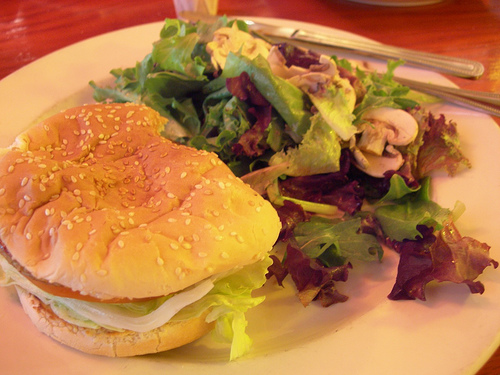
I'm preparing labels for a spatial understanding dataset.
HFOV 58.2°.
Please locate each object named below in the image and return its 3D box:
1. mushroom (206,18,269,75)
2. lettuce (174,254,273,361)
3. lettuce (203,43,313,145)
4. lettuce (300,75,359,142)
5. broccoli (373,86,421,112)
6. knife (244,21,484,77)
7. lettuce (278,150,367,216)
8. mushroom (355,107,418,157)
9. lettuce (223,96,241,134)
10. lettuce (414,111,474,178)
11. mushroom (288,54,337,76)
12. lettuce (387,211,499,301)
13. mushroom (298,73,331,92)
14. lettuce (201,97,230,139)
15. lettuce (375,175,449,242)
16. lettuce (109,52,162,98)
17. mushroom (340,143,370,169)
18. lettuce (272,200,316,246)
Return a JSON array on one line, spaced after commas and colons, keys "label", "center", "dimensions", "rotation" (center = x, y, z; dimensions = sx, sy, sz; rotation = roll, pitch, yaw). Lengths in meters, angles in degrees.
[{"label": "mushroom", "center": [-0.093, -0.812, 2.946], "dimensions": [0.450, 0.495, 0.149], "rotation": [0, 0, 13]}, {"label": "lettuce", "center": [-0.107, 0.547, 2.348], "dimensions": [0.527, 0.444, 0.476], "rotation": [-5, 19, -19]}, {"label": "lettuce", "center": [0.097, -0.604, 2.724], "dimensions": [0.378, 0.573, 0.581], "rotation": [-19, 24, -33]}, {"label": "lettuce", "center": [0.483, -0.485, 2.732], "dimensions": [0.275, 0.395, 0.204], "rotation": [-8, 18, -22]}, {"label": "broccoli", "center": [0.946, -0.564, 2.837], "dimensions": [0.219, 0.056, 0.209], "rotation": [7, 42, -1]}, {"label": "knife", "center": [0.818, -0.982, 3.199], "dimensions": [2.082, 0.142, 0.236], "rotation": [16, 82, 20]}, {"label": "lettuce", "center": [0.427, 0.015, 2.777], "dimensions": [0.509, 0.154, 0.365], "rotation": [1, 57, -6]}, {"label": "mushroom", "center": [0.862, -0.362, 2.776], "dimensions": [0.351, 0.099, 0.329], "rotation": [4, 56, 4]}, {"label": "lettuce", "center": [-0.125, -0.438, 2.724], "dimensions": [0.050, 0.191, 0.149], "rotation": [5, -5, -40]}, {"label": "lettuce", "center": [1.146, -0.244, 2.715], "dimensions": [0.297, 0.118, 0.376], "rotation": [-8, 66, 29]}, {"label": "mushroom", "center": [0.426, -0.728, 2.765], "dimensions": [0.181, 0.173, 0.048], "rotation": [10, 19, -3]}, {"label": "lettuce", "center": [0.981, 0.423, 2.287], "dimensions": [0.428, 0.159, 0.424], "rotation": [16, 51, 19]}, {"label": "mushroom", "center": [0.387, -0.646, 2.709], "dimensions": [0.126, 0.034, 0.121], "rotation": [2, 78, 22]}, {"label": "lettuce", "center": [-0.230, -0.443, 2.869], "dimensions": [0.154, 0.262, 0.103], "rotation": [-18, 19, -35]}, {"label": "lettuce", "center": [0.878, 0.211, 2.519], "dimensions": [0.479, 0.367, 0.104], "rotation": [31, 55, -18]}, {"label": "lettuce", "center": [-0.741, -0.784, 3.158], "dimensions": [0.286, 0.326, 0.372], "rotation": [20, 33, 34]}, {"label": "mushroom", "center": [0.652, -0.189, 2.768], "dimensions": [0.045, 0.112, 0.191], "rotation": [-26, 78, -14]}, {"label": "lettuce", "center": [0.237, 0.179, 2.636], "dimensions": [0.248, 0.242, 0.091], "rotation": [-6, 4, -13]}]
